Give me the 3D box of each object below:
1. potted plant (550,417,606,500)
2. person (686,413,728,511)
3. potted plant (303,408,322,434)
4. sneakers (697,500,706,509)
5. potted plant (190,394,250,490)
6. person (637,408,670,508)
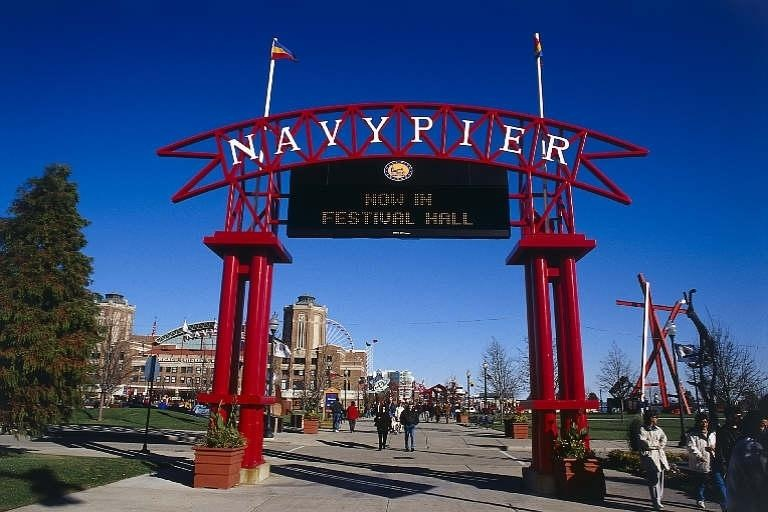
[{"bbox_3d":[5.869,6.109,20.214,1.411,2.310,0.715,-3,-20,16],"label":"potted plant"},{"bbox_3d":[9.165,5.821,19.060,0.839,2.649,1.004,-5,-20,22],"label":"person"},{"bbox_3d":[-4.098,9.345,37.889,1.824,1.374,1.297,0,-14,-5],"label":"potted plant"},{"bbox_3d":[9.073,7.038,19.012,0.154,0.229,0.405,-3,-10,26],"label":"sneakers"},{"bbox_3d":[-5.005,5.769,20.517,1.461,2.510,0.813,5,-19,-7],"label":"potted plant"},{"bbox_3d":[7.768,5.806,19.232,0.748,2.701,1.342,-5,-20,21],"label":"person"}]
